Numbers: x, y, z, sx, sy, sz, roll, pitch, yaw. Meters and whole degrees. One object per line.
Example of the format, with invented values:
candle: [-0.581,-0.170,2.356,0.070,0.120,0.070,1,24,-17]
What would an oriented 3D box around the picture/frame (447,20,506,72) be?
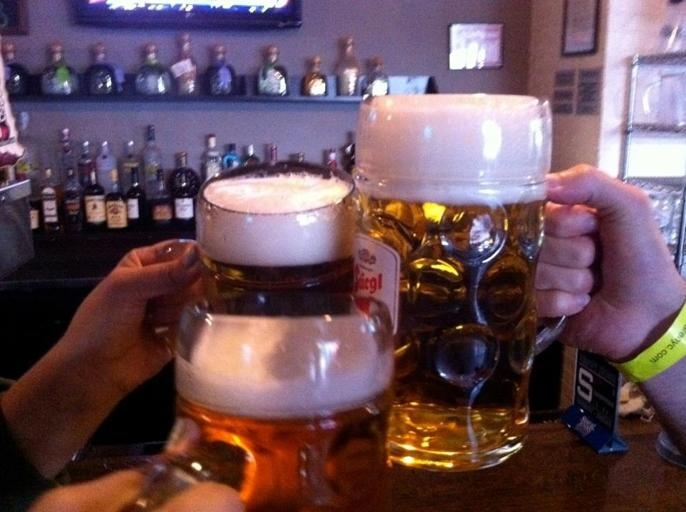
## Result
picture/frame: [0.724,-1.168,3.079,0.301,0.194,0.039,-1,11,-5]
